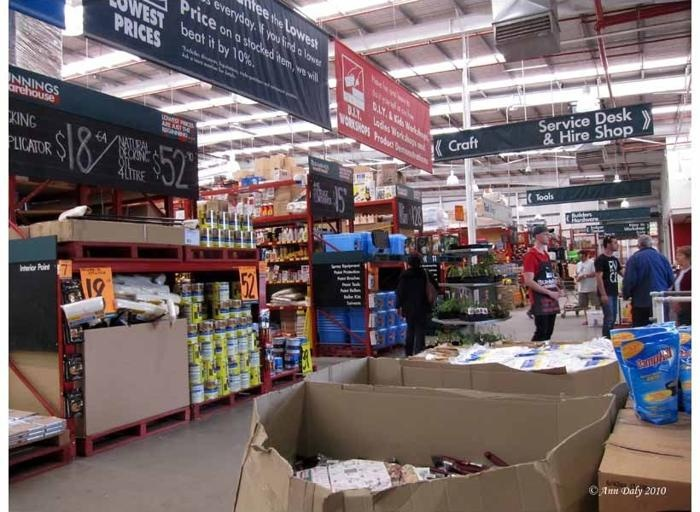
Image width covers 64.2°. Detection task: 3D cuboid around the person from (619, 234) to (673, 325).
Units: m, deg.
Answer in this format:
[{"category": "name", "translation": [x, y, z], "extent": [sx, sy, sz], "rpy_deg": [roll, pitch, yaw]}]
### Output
[{"category": "person", "translation": [3.904, 0.369, 7.399], "extent": [0.583, 1.264, 0.779], "rpy_deg": [-4, 4, 34]}]

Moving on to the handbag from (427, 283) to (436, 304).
[{"category": "handbag", "translation": [1.087, 0.515, 7.531], "extent": [0.096, 0.236, 0.239], "rpy_deg": [-7, -9, 16]}]

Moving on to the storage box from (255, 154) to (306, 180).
[{"category": "storage box", "translation": [-1.387, -1.710, 10.840], "extent": [0.720, 0.559, 0.685], "rpy_deg": [2, 5, 31]}]

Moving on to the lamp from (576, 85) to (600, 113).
[{"category": "lamp", "translation": [4.769, -3.183, 11.252], "extent": [0.327, 0.588, 0.875], "rpy_deg": [-4, 4, 29]}]
